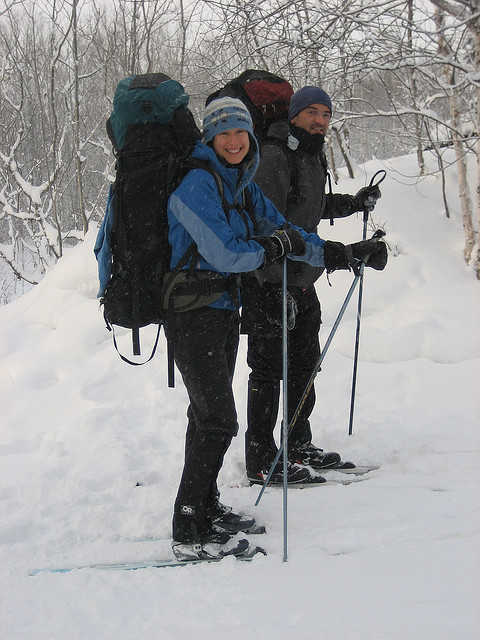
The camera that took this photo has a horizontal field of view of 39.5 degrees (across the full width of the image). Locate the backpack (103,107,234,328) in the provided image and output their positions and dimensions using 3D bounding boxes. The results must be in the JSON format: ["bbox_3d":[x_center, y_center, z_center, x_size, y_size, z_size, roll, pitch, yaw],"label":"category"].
[{"bbox_3d":[-0.338,-0.436,2.762,0.545,0.871,0.322,-8,11,-11],"label":"backpack"}]
